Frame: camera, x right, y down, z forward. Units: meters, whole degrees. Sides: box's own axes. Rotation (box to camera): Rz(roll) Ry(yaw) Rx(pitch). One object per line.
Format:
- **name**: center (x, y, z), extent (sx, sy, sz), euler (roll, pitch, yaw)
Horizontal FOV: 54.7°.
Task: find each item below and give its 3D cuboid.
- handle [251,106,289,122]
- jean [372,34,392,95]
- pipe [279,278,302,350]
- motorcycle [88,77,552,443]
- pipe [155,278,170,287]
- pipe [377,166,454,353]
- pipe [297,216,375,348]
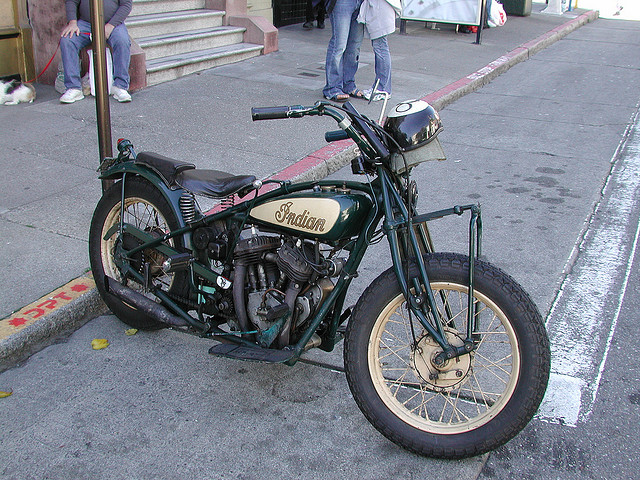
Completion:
- **handle**: center (-0.276, -0.714, 3.547), extent (0.246, 0.089, 0.087), euler (-1, 24, -3)
- **jean**: center (0.909, -2.522, 9.060), extent (0.329, 0.860, 1.144), euler (5, 29, 5)
- **pipe**: center (-0.185, 0.452, 3.832), extent (0.107, 0.491, 0.117), euler (14, 11, 7)
- **motorcycle**: center (-0.265, 0.064, 3.964), extent (3.285, 1.932, 1.287), euler (14, 18, 27)
- **pipe**: center (-1.129, 0.311, 4.454), extent (0.092, 0.016, 0.015), euler (41, 8, -27)
- **pipe**: center (0.602, 0.173, 3.937), extent (0.131, 1.609, 0.147), euler (-18, -11, 18)
- **pipe**: center (0.083, 0.261, 3.733), extent (0.124, 0.959, 0.099), euler (29, -4, 25)
